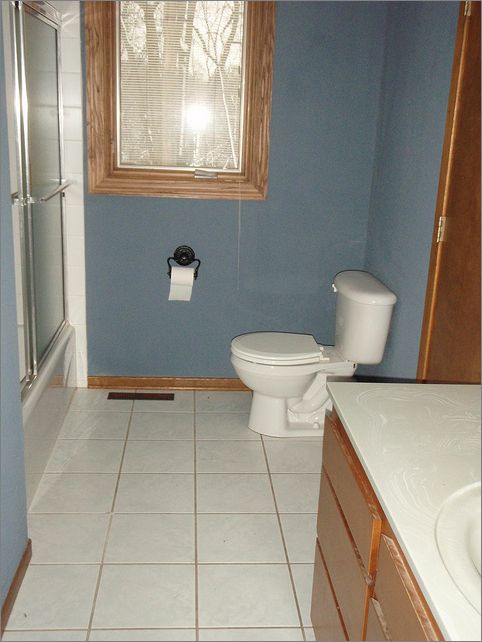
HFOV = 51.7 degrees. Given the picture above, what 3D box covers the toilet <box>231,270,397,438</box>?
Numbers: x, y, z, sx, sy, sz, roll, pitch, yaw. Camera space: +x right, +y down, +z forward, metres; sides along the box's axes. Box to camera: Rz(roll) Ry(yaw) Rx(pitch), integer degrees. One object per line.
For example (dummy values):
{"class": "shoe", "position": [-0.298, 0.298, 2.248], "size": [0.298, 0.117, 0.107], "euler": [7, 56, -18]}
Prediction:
{"class": "toilet", "position": [0.319, 0.037, 2.796], "size": [0.842, 1.015, 0.636], "euler": [2, 24, 2]}
